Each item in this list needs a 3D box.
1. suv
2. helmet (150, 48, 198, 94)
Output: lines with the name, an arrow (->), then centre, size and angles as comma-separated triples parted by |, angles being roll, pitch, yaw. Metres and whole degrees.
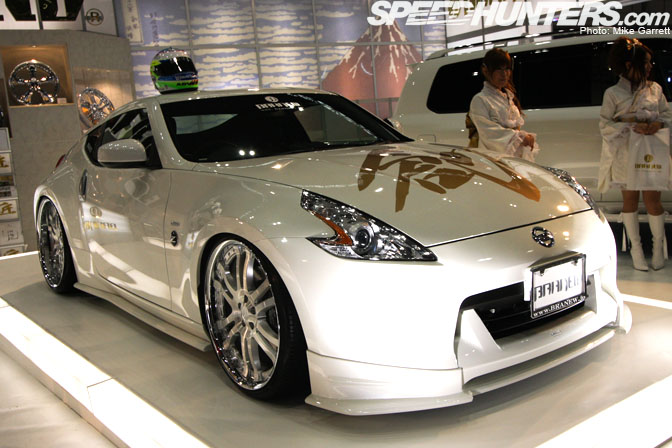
suv -> 1.944, -1.175, 5.062 | 2.837, 1.563, 1.607 | -8, 2, 20
helmet -> -1.401, -1.338, 3.807 | 0.435, 0.381, 0.335 | 12, 22, 37
